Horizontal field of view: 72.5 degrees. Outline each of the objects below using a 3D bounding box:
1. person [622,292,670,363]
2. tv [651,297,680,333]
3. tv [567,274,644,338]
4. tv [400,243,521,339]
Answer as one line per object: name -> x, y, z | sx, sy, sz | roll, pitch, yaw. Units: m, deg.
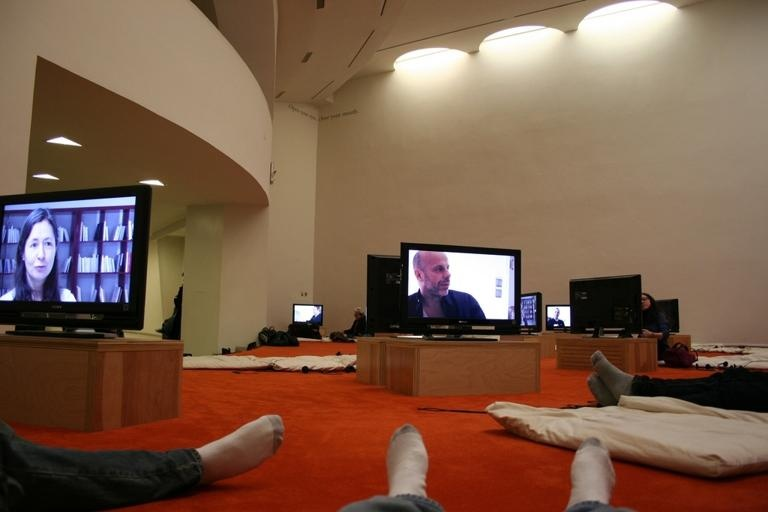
person -> 3.492, 0.986, 7.023 | 0.495, 0.902, 0.517 | 17, -34, -3
tv -> 4.421, 0.939, 8.246 | 0.240, 0.727, 0.696 | -18, 0, 35
tv -> 2.963, 0.680, 6.977 | 0.958, 0.866, 0.249 | 0, 2, 36
tv -> 0.719, 0.338, 5.027 | 0.845, 0.645, 0.085 | 1, -1, -5
